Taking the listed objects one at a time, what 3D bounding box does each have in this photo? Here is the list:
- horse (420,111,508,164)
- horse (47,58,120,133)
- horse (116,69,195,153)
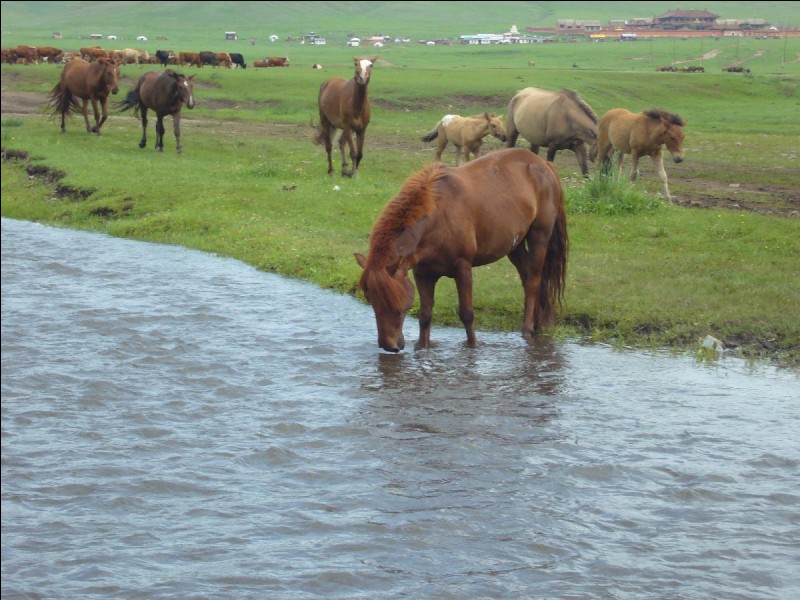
[{"bbox_3d":[1.721,-4.356,33.551,0.706,1.296,2.902,-14,19,-41],"label":"horse"},{"bbox_3d":[-9.318,-6.102,36.880,1.099,2.166,2.910,-9,17,-36],"label":"horse"},{"bbox_3d":[-6.638,-5.375,34.825,0.894,2.204,2.503,-6,15,-28],"label":"horse"}]
